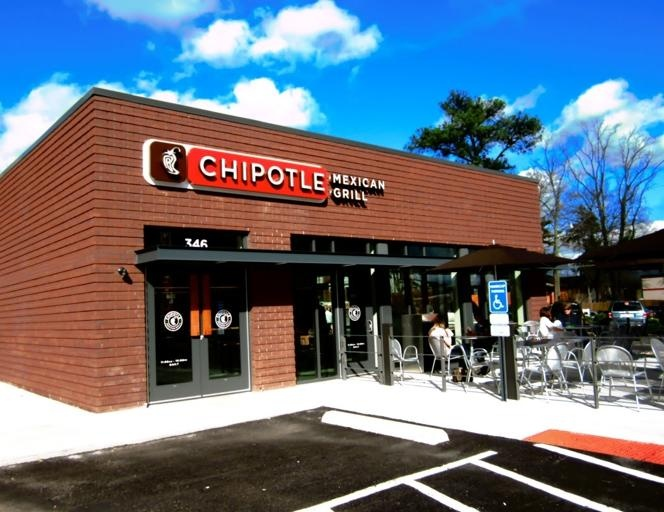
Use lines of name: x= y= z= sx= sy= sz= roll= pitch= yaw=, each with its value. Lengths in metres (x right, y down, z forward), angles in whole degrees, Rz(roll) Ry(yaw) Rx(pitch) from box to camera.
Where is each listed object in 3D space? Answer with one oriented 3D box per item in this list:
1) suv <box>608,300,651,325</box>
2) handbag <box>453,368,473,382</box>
suv: x=15.374 y=3.022 z=27.411 sx=1.161 sy=0.992 sz=2.018 roll=-1 pitch=-1 yaw=27
handbag: x=3.080 y=2.865 z=12.460 sx=0.529 sy=0.384 sz=0.332 roll=-2 pitch=-4 yaw=1
